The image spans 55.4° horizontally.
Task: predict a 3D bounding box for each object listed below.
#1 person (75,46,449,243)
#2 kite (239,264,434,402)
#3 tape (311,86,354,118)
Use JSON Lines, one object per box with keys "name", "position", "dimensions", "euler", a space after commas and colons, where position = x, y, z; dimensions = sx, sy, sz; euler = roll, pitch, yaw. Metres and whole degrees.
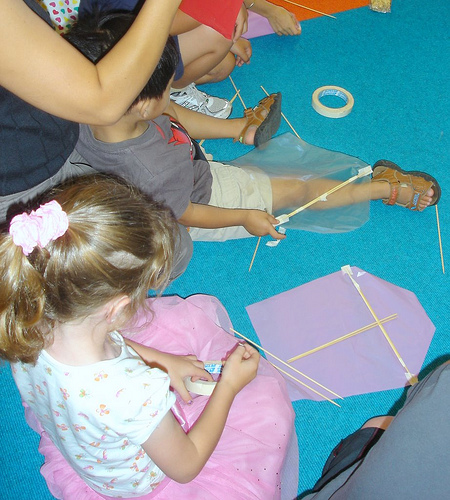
{"name": "person", "position": [0.076, -0.338, 1.302], "dimensions": [1.180, 0.593, 0.501], "euler": [-2, 67, -1]}
{"name": "kite", "position": [0.340, 0.246, 1.286], "dimensions": [0.542, 0.013, 0.358], "euler": [-21, 66, 33]}
{"name": "tape", "position": [0.439, -0.611, 1.769], "dimensions": [0.164, 0.049, 0.159], "euler": [5, 53, 6]}
